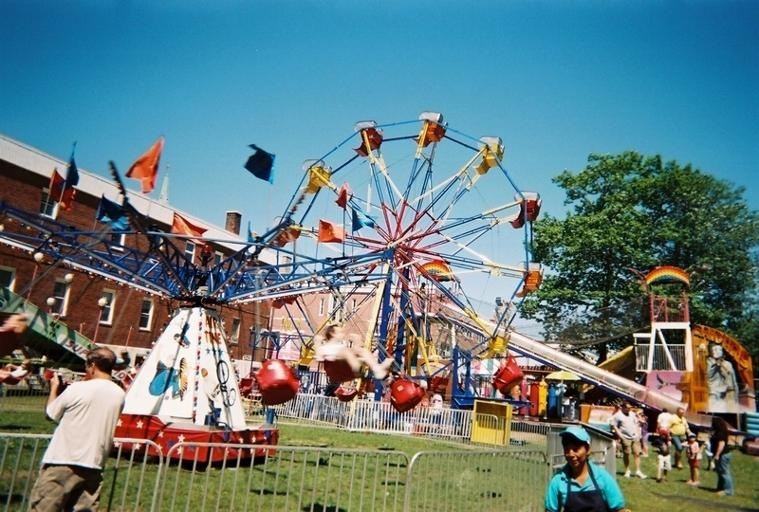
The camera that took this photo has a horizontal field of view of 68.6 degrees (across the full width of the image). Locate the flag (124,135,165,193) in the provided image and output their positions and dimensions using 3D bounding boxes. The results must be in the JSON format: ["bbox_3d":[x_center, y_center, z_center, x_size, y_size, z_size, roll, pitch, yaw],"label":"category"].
[{"bbox_3d":[-5.430,-2.044,12.936,0.755,1.213,0.533,-15,-28,40],"label":"flag"}]

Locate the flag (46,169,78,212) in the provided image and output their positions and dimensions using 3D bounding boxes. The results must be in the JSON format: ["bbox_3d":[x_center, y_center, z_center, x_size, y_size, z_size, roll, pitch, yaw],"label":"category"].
[{"bbox_3d":[-8.602,-1.860,15.048,0.655,1.586,0.148,12,-41,-33],"label":"flag"}]

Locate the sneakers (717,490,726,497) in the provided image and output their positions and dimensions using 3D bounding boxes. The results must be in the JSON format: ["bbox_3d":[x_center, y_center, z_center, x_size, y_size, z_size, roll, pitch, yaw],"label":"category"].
[{"bbox_3d":[8.986,6.197,14.578,0.208,0.194,0.113,-4,-10,15],"label":"sneakers"}]

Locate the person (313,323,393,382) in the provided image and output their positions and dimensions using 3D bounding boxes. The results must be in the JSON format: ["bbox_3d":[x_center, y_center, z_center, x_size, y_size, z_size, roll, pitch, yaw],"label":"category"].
[{"bbox_3d":[-0.491,2.014,11.616,2.039,1.154,1.072,8,-6,-33],"label":"person"}]

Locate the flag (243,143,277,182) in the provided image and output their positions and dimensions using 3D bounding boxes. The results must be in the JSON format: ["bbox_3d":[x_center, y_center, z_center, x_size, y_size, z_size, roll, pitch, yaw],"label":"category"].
[{"bbox_3d":[-3.100,-2.314,14.289,0.717,0.806,0.576,12,-23,-21],"label":"flag"}]

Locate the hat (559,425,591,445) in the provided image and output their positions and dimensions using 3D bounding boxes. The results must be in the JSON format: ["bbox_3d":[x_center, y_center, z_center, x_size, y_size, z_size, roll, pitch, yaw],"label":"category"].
[{"bbox_3d":[2.732,2.447,7.581,0.339,0.174,0.489,-5,-28,43],"label":"hat"}]
